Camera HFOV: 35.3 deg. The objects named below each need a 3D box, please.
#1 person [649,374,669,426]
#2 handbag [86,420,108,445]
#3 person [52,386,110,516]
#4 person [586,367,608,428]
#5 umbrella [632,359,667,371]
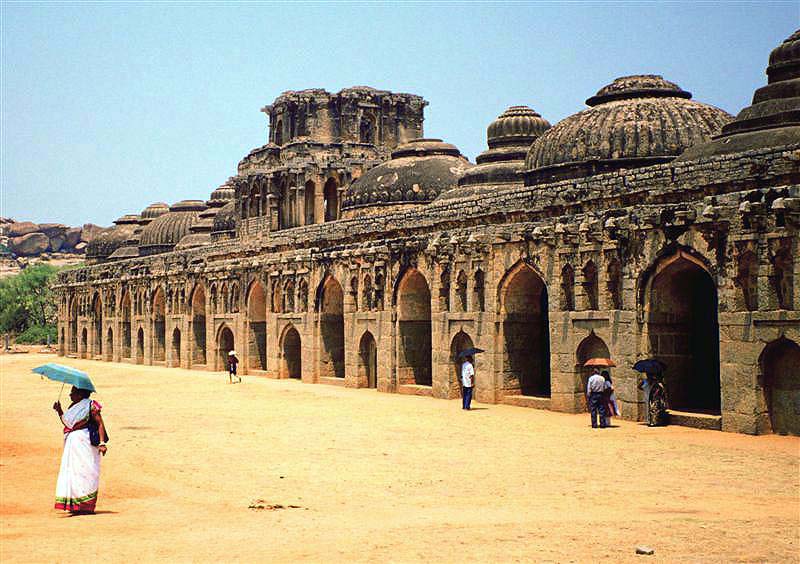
[{"bbox_3d":[6.636,3.051,32.333,0.466,1.262,0.470,-1,7,10],"label":"person"},{"bbox_3d":[-6.128,3.089,25.611,0.357,0.523,0.209,-7,9,-34],"label":"handbag"},{"bbox_3d":[-6.523,3.445,25.729,1.103,2.589,0.719,-4,8,-15],"label":"person"},{"bbox_3d":[5.122,3.068,32.540,0.460,1.322,0.717,-2,7,2],"label":"person"},{"bbox_3d":[6.417,2.182,32.310,0.809,0.326,0.578,-1,7,12],"label":"umbrella"}]
